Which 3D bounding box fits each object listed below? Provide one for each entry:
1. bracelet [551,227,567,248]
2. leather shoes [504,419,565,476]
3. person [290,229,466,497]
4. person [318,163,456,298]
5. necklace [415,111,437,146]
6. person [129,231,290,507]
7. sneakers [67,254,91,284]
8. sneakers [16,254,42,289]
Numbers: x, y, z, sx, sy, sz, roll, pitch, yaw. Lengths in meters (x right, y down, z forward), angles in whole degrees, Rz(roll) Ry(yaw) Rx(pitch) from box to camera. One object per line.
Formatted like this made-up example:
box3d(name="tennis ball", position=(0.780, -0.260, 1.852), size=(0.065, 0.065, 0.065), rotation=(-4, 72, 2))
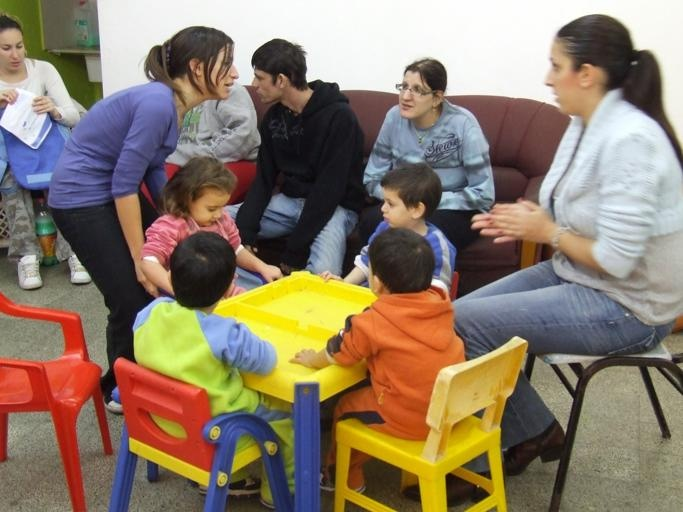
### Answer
box3d(name="bracelet", position=(0.664, -0.052, 1.725), size=(0.022, 0.064, 0.048), rotation=(21, 6, 16))
box3d(name="leather shoes", position=(0.635, 0.633, 1.847), size=(0.144, 0.205, 0.077), rotation=(22, 43, -47))
box3d(name="person", position=(0.116, 0.353, 1.687), size=(0.382, 0.831, 0.489), rotation=(-2, 7, -41))
box3d(name="person", position=(0.106, -0.177, 2.257), size=(0.478, 0.726, 0.598), rotation=(-4, 26, -11))
box3d(name="necklace", position=(0.415, -0.628, 2.767), size=(0.091, 0.133, 0.031), rotation=(30, 30, 8))
box3d(name="person", position=(-0.351, 0.387, 1.596), size=(0.457, 0.880, 0.298), rotation=(-1, 20, -22))
box3d(name="sneakers", position=(-1.404, 0.082, 2.968), size=(0.064, 0.077, 0.188), rotation=(-25, 48, -32))
box3d(name="sneakers", position=(-1.870, 0.093, 3.329), size=(0.101, 0.114, 0.276), rotation=(-12, 30, -29))
